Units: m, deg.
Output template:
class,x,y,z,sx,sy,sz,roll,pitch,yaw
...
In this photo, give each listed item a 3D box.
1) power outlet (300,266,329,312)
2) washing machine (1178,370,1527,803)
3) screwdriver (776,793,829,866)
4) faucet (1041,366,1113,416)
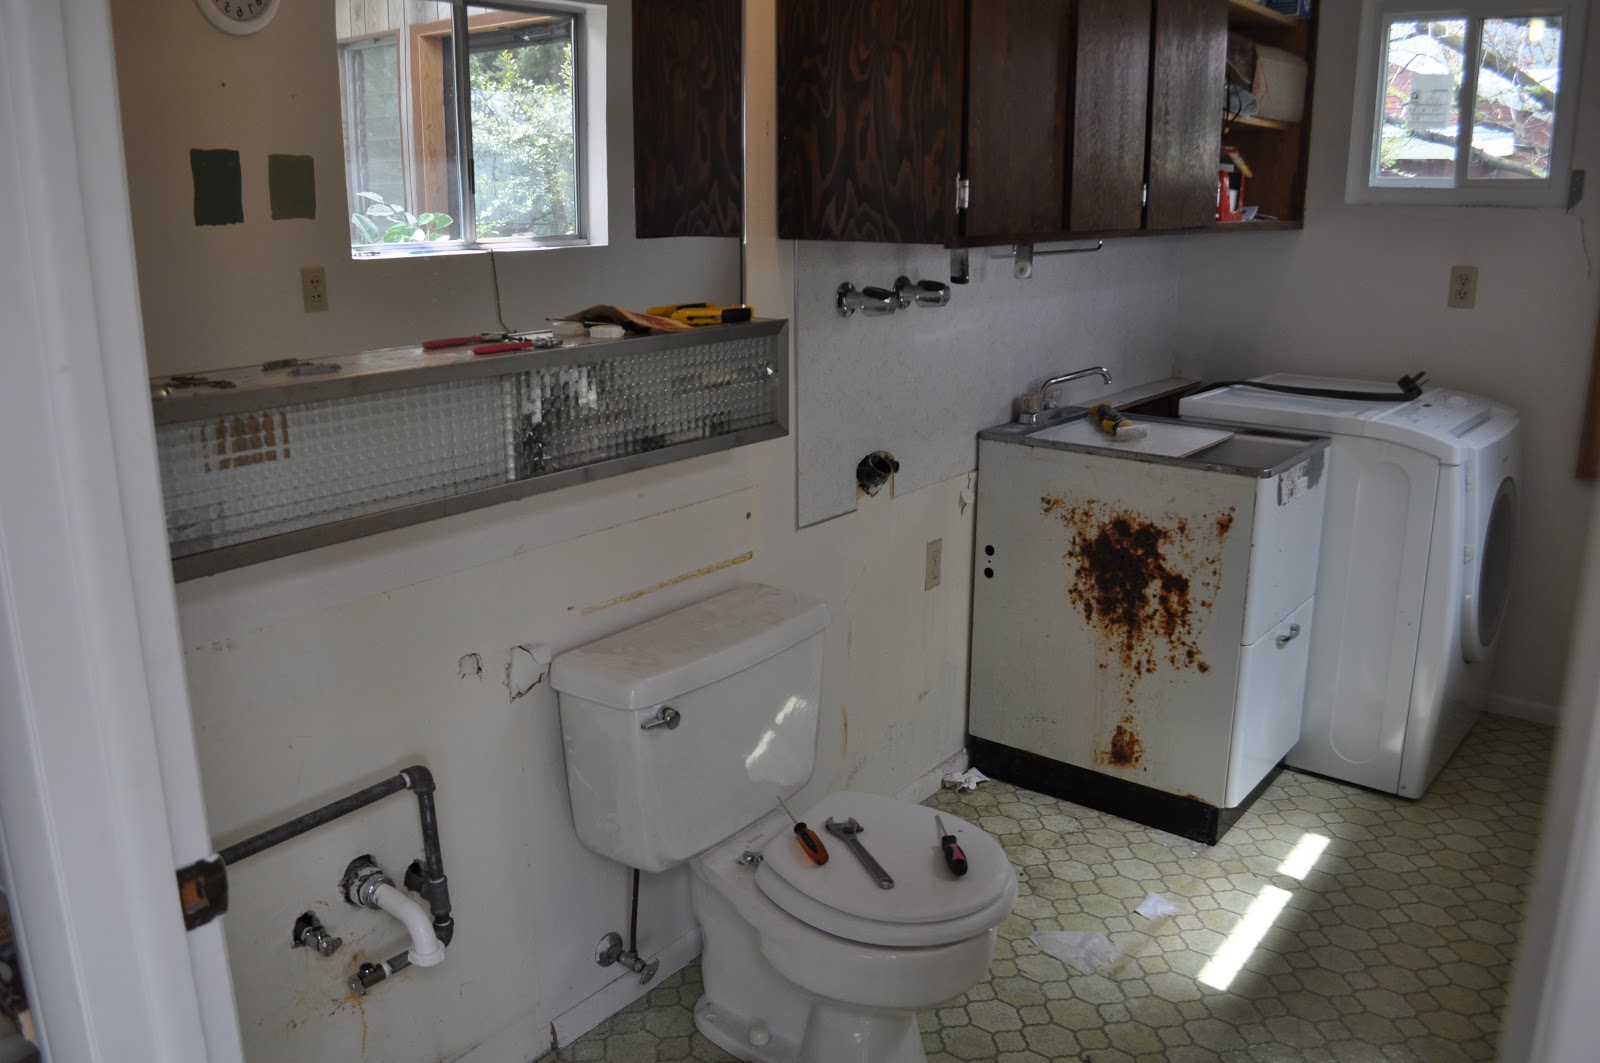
class,x,y,z,sx,sy,sz,roll,pitch,yaw
power outlet,-0.802,-0.403,1.802,0.012,0.092,0.053,17,24,31
washing machine,1.860,-0.042,4.088,1.160,1.707,1.244,8,21,28
screwdriver,0.007,0.642,2.361,0.045,0.048,0.193,41,-1,-35
faucet,0.886,-0.483,3.596,0.355,0.131,0.144,-14,20,-33
